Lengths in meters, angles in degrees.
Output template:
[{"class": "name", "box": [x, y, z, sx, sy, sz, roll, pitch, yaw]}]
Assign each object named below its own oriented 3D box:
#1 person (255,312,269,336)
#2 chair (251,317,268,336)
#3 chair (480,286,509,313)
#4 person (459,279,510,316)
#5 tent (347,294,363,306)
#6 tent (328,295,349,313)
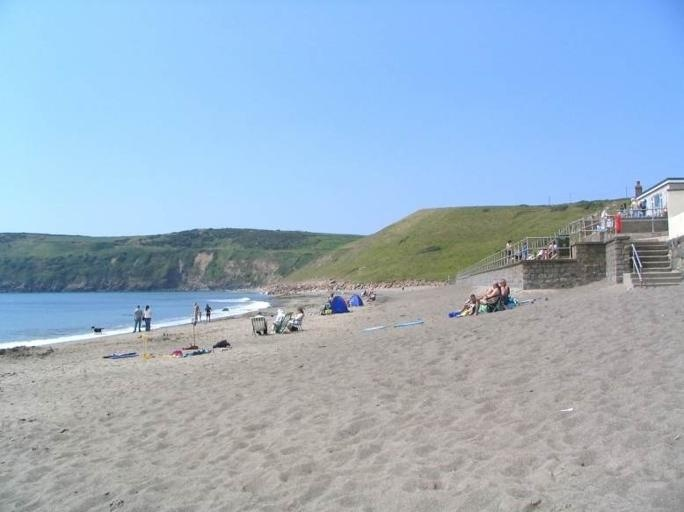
[{"class": "person", "box": [-3.653, 3.022, 23.475, 0.627, 0.995, 0.750, 1, 1, 12]}, {"class": "chair", "box": [-3.649, 3.053, 23.503, 0.576, 0.875, 0.855, 0, -7, 9]}, {"class": "chair", "box": [5.346, 1.539, 18.925, 1.002, 1.038, 0.797, 1, -5, 0]}, {"class": "person", "box": [5.105, 1.546, 18.900, 1.591, 0.720, 1.267, -21, 4, 1]}, {"class": "tent", "box": [1.016, 3.253, 39.572, 0.778, 0.440, 0.849, -3, 5, -18]}, {"class": "tent", "box": [-0.354, 3.015, 33.367, 0.911, 0.445, 1.012, 5, 7, 44]}]
